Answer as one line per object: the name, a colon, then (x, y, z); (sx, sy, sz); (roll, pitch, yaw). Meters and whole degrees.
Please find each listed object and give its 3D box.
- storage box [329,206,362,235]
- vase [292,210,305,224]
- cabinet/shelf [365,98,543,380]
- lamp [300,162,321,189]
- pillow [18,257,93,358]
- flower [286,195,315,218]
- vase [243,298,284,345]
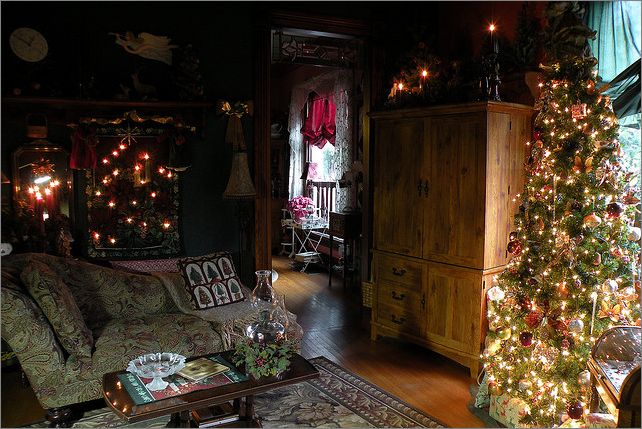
storage box: (0.372, 0.163, 7.319); (0.325, 0.395, 0.596); (2, -1, -14)
vase: (-0.391, 0.048, 8.436); (0.209, 0.152, 0.207); (-1, 5, -17)
cabinet/shelf: (1.265, 0.161, 5.189); (1.428, 2.690, 0.851); (11, 17, 38)
lamp: (-0.203, -0.766, 9.318); (0.313, 0.511, 0.631); (0, 13, 0)
pillow: (-2.186, 0.800, 4.046); (0.587, 0.762, 0.291); (7, 15, 27)
flower: (-0.352, -0.117, 8.653); (0.399, 0.350, 0.407); (5, -3, 4)
vase: (-0.411, 0.840, 3.760); (0.322, 0.349, 0.328); (1, -9, -1)
